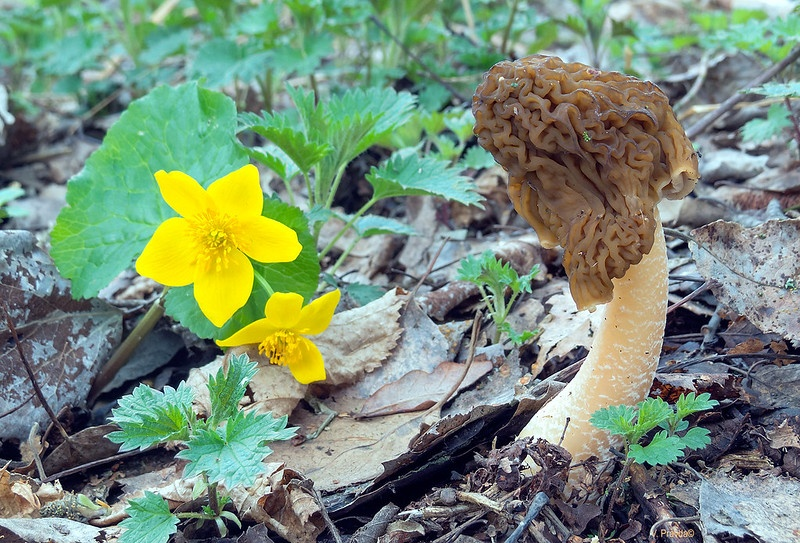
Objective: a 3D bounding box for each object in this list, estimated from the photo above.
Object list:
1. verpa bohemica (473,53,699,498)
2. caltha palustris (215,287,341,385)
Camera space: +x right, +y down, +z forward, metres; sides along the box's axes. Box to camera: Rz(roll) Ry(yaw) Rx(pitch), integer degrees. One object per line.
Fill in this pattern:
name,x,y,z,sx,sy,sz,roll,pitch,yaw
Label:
verpa bohemica,1.065,-0.039,4.043,1.065,1.938,1.382,-13,38,-15
caltha palustris,-0.694,0.340,4.408,0.631,0.573,0.257,-28,18,-10
